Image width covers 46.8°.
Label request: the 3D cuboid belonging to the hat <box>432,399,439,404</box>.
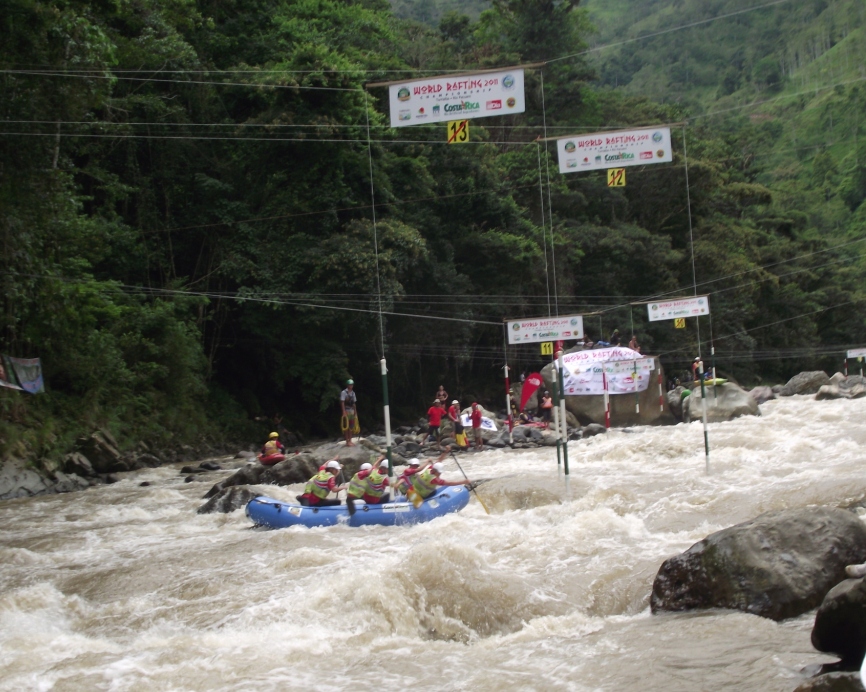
[{"bbox_3d":[0.139,2.204,40.132,0.320,0.164,0.382,-2,-8,1],"label":"hat"}]

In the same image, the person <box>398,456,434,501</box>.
[{"bbox_3d":[-0.361,3.236,24.168,0.641,1.015,0.440,0,-17,-5],"label":"person"}]

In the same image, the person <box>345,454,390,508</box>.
[{"bbox_3d":[-1.536,3.312,24.154,1.050,1.408,0.976,-7,-13,-3],"label":"person"}]

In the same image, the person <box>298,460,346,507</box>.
[{"bbox_3d":[-2.569,3.366,24.429,0.878,1.248,0.892,22,9,37],"label":"person"}]

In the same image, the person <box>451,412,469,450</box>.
[{"bbox_3d":[0.964,2.817,33.712,0.501,1.164,1.281,-4,3,1],"label":"person"}]

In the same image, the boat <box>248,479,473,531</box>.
[{"bbox_3d":[-1.770,3.869,23.796,5.143,0.826,1.083,-6,3,-2],"label":"boat"}]

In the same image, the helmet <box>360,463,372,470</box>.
[{"bbox_3d":[-1.572,2.902,24.119,0.156,0.104,0.163,-4,-6,41],"label":"helmet"}]

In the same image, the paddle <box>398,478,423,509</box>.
[{"bbox_3d":[-0.514,3.499,23.833,0.396,0.279,0.747,-17,57,-43],"label":"paddle"}]

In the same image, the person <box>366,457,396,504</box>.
[{"bbox_3d":[-1.322,3.122,24.024,0.650,1.442,0.592,9,42,-1],"label":"person"}]
